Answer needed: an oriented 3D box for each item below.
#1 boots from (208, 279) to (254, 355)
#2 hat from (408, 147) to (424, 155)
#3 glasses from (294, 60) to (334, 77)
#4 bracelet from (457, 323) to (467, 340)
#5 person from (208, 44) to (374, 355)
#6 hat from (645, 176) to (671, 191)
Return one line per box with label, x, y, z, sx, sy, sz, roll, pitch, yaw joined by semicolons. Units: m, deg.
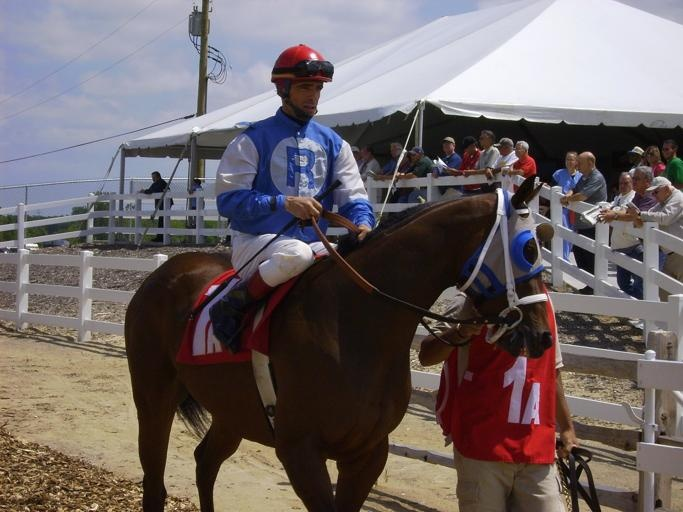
boots;-0.778;0.475;6.405;0.297;0.484;0.755;-6;28;-3
hat;1.264;-1.761;14.594;0.171;0.086;0.123;22;11;22
glasses;-0.182;-1.381;6.432;0.311;0.136;0.148;3;7;-17
bracelet;0.853;0.538;6.085;0.057;0.081;0.030;6;24;0
person;-0.300;-0.325;6.600;1.098;2.526;1.319;-2;3;-40
hat;3.909;-0.887;10.742;0.239;0.140;0.166;-3;0;-16
